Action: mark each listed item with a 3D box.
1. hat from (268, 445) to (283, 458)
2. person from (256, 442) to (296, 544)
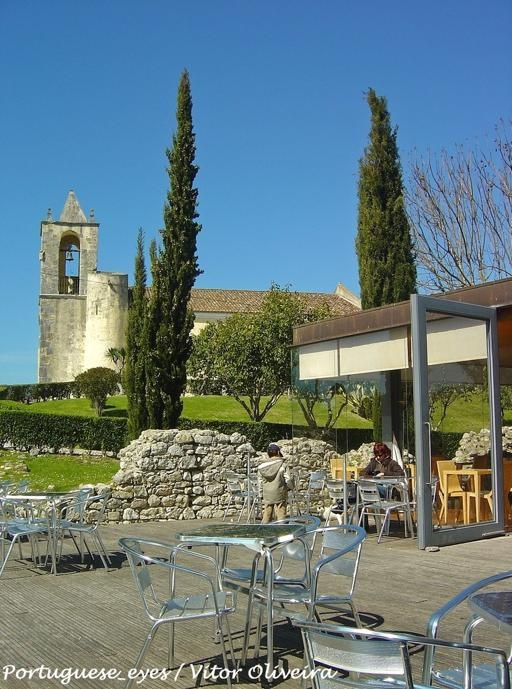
[{"bbox_3d":[0.251,1.361,8.454,0.137,0.219,0.193,1,0,6],"label":"hat"},{"bbox_3d":[0.247,1.838,8.533,0.408,1.241,0.433,-1,16,6],"label":"person"}]
